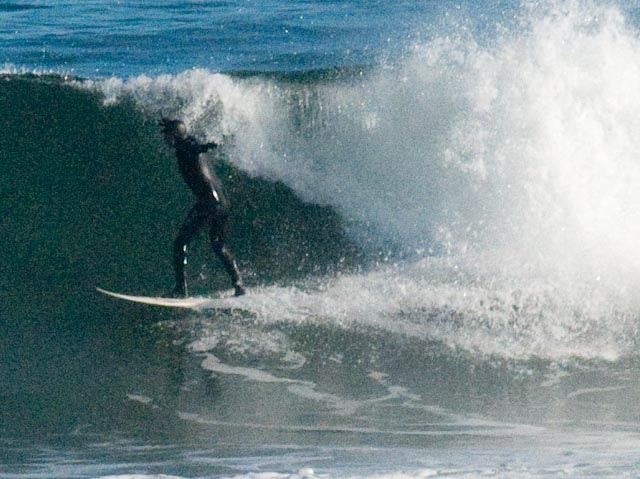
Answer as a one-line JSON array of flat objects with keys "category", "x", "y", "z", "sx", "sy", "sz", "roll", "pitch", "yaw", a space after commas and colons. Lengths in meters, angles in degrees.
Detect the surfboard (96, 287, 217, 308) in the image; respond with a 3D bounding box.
[{"category": "surfboard", "x": -2.118, "y": 0.769, "z": 16.950, "sx": 1.729, "sy": 0.188, "sz": 0.126, "roll": 2, "pitch": 49, "yaw": -1}]
